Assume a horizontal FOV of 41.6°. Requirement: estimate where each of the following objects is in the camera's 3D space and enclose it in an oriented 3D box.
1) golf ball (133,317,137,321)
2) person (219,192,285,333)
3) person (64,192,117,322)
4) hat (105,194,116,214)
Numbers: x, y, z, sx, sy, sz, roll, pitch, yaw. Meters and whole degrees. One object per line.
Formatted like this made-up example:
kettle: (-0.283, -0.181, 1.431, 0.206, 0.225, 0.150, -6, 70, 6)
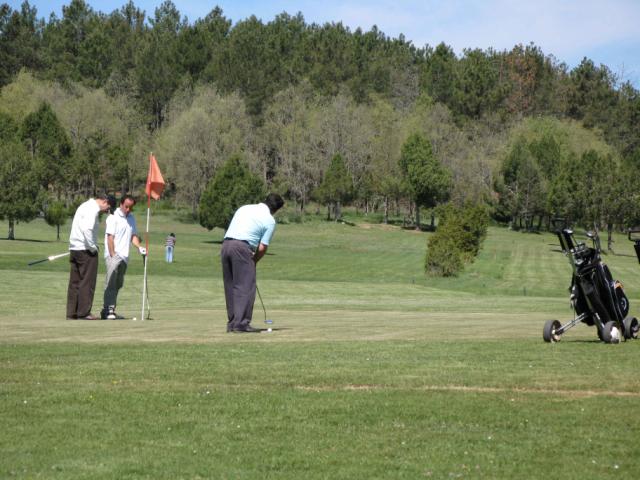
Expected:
golf ball: (-3.519, 1.495, 15.945, 0.079, 0.043, 0.115, 3, 4, 2)
person: (-1.202, 0.360, 13.949, 0.899, 2.309, 0.602, 2, 3, -8)
person: (-4.352, 0.291, 15.801, 0.804, 2.315, 0.883, 1, 4, -18)
hat: (-3.967, -0.695, 15.881, 0.153, 0.307, 0.201, -26, 14, -10)
